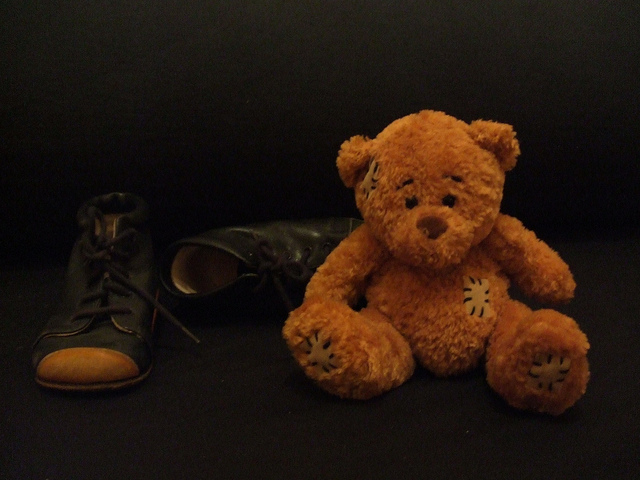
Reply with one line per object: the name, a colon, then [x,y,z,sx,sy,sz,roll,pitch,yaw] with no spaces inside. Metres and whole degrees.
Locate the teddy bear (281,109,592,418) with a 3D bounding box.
teddy bear: [0.212,0.031,1.170,0.475,0.513,0.341,-2,21,11]
